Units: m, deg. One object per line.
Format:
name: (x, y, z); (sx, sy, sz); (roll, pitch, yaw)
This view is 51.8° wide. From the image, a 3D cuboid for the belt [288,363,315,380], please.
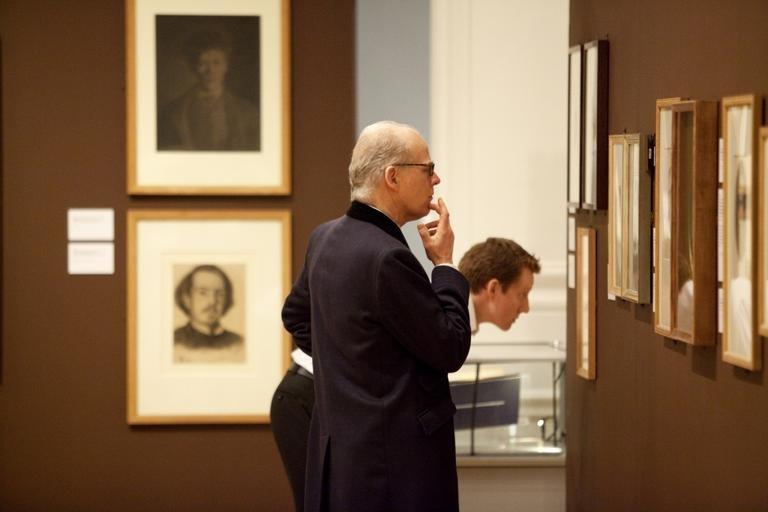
belt: (-0.407, 0.567, 3.856); (0.086, 0.034, 0.078); (23, -12, 4)
